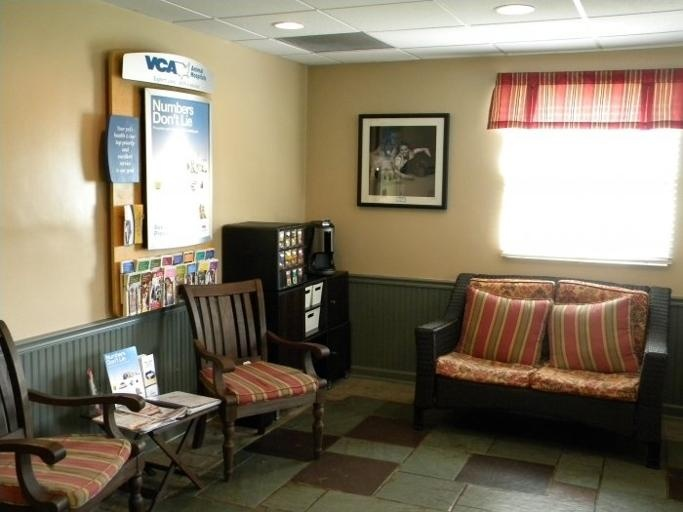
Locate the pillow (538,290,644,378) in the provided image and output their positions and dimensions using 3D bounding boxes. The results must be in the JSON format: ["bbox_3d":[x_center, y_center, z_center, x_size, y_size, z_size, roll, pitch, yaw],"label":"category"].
[{"bbox_3d":[2.021,0.635,4.187,0.588,0.533,0.221,-5,-15,23],"label":"pillow"}]

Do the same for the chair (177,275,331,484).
[{"bbox_3d":[-0.660,0.841,3.863,1.090,1.128,1.088,4,3,12],"label":"chair"}]

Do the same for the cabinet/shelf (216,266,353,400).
[{"bbox_3d":[-0.381,0.646,4.924,0.403,0.995,1.168,-19,-34,25],"label":"cabinet/shelf"}]

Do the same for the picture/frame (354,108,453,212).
[{"bbox_3d":[0.656,-0.966,5.158,1.037,1.016,0.078,3,5,15],"label":"picture/frame"}]

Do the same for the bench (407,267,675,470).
[{"bbox_3d":[1.666,0.853,4.326,1.820,1.140,0.999,2,2,30],"label":"bench"}]

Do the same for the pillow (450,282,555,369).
[{"bbox_3d":[1.380,0.618,4.557,0.739,0.587,0.335,9,12,34],"label":"pillow"}]

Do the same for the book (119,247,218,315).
[{"bbox_3d":[-1.237,0.190,3.920,0.891,0.351,0.118,-15,-8,28],"label":"book"}]

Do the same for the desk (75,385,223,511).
[{"bbox_3d":[-1.291,1.034,3.458,0.722,0.658,0.838,2,3,32],"label":"desk"}]
